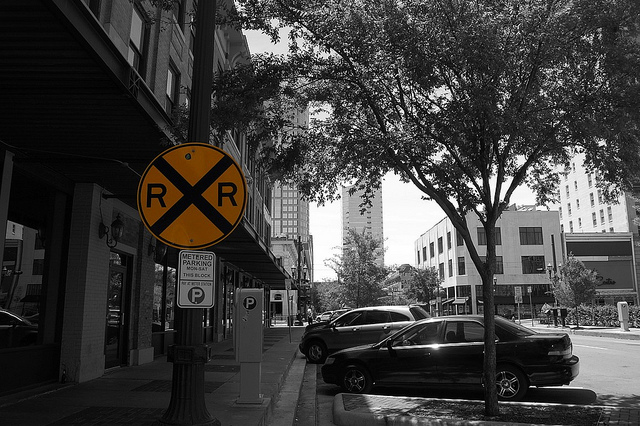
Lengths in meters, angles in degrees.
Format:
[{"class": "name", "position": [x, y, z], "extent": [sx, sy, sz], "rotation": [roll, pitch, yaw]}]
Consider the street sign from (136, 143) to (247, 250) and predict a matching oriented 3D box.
[{"class": "street sign", "position": [-1.861, -0.234, 7.715], "extent": [1.548, 1.663, 0.067], "rotation": [-1, -20, -11]}]

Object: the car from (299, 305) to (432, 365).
[{"class": "car", "position": [1.427, 4.228, 18.842], "extent": [4.174, 1.701, 2.029], "rotation": [-5, -13, 14]}]

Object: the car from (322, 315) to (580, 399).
[{"class": "car", "position": [3.244, 3.472, 12.981], "extent": [5.586, 1.935, 0.900], "rotation": [-7, -14, 16]}]

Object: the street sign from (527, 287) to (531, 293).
[{"class": "street sign", "position": [20.019, 7.160, 51.063], "extent": [0.091, 0.334, 0.413], "rotation": [-4, -14, 10]}]

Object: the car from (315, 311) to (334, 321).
[{"class": "car", "position": [0.292, 10.443, 54.877], "extent": [2.018, 1.150, 1.284], "rotation": [3, -14, 4]}]
